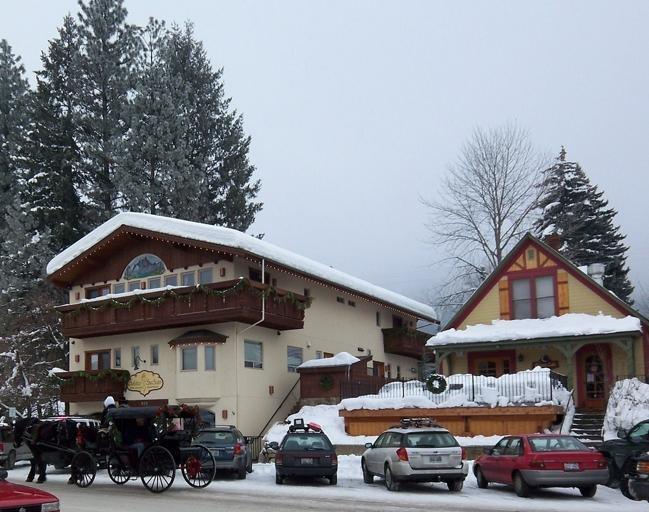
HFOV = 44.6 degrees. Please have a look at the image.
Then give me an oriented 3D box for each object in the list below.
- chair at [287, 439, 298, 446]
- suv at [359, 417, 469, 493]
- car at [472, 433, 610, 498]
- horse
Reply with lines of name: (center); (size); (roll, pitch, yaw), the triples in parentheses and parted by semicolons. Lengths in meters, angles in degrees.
chair: (-1.169, 6.668, 28.759); (0.318, 0.310, 0.172); (2, -27, 7)
suv: (2.881, 6.817, 27.952); (1.888, 1.617, 3.450); (2, -7, -12)
car: (6.871, 6.725, 25.889); (1.802, 1.903, 3.924); (13, -22, -39)
horse: (-9.776, 6.827, 28.829); (3.387, 2.246, 1.016); (-7, -4, 17)
